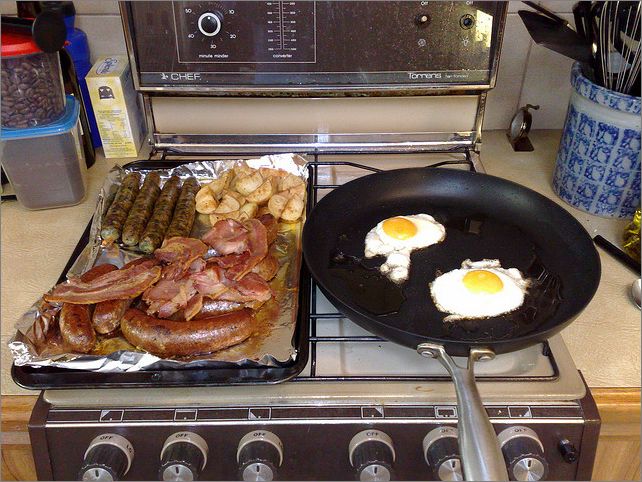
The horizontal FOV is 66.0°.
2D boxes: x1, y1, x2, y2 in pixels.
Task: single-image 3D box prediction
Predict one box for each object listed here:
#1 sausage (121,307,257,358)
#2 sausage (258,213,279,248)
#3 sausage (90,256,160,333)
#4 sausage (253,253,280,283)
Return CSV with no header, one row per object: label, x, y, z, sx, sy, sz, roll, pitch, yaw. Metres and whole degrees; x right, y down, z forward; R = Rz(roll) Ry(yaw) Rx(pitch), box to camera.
sausage,-0.291,0.201,1.073,0.222,0.060,0.116,-2,30,-4
sausage,-0.130,-0.028,1.336,0.052,0.028,0.082,0,69,-8
sausage,-0.445,0.130,1.131,0.055,0.044,0.174,1,32,11
sausage,-0.133,0.067,1.222,0.054,0.023,0.066,-17,32,10
